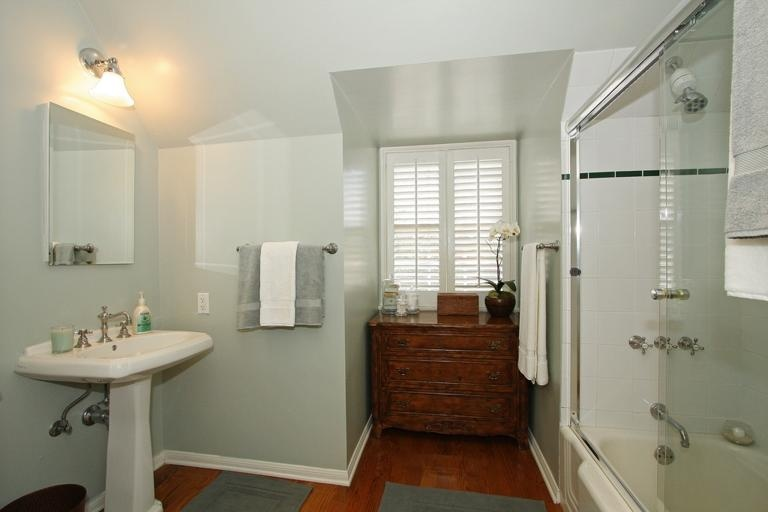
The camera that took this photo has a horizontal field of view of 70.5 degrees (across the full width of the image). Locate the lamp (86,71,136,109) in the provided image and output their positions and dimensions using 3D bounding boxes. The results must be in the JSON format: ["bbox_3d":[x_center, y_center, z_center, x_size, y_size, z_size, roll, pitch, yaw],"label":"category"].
[{"bbox_3d":[-1.673,-1.059,3.414,0.332,0.219,0.320,-1,23,-17],"label":"lamp"}]

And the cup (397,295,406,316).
[{"bbox_3d":[0.137,0.391,4.196,0.116,0.151,0.117,0,0,0],"label":"cup"}]

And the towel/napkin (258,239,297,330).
[{"bbox_3d":[-0.684,0.188,3.553,0.256,0.469,0.048,-2,0,5],"label":"towel/napkin"}]

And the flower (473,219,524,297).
[{"bbox_3d":[0.900,0.016,4.228,0.332,0.570,0.335,-2,-1,14],"label":"flower"}]

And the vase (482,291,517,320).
[{"bbox_3d":[0.875,0.372,4.105,0.204,0.146,0.207,-2,1,20],"label":"vase"}]

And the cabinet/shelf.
[{"bbox_3d":[0.501,0.876,4.144,1.137,0.875,0.480,0,9,8],"label":"cabinet/shelf"}]

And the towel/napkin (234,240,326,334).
[{"bbox_3d":[-0.661,0.201,3.554,0.600,0.591,0.130,0,-3,3],"label":"towel/napkin"}]

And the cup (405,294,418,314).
[{"bbox_3d":[0.226,0.380,4.298,0.125,0.179,0.127,-1,0,0],"label":"cup"}]

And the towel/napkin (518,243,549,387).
[{"bbox_3d":[0.992,0.388,3.663,0.186,0.942,0.314,-2,-1,-25],"label":"towel/napkin"}]

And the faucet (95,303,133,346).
[{"bbox_3d":[-1.688,0.425,3.404,0.205,0.212,0.094,-6,-13,-13],"label":"faucet"}]

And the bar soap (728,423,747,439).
[{"bbox_3d":[1.693,0.835,2.593,0.055,0.049,0.055,5,-8,-42],"label":"bar soap"}]

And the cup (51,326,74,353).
[{"bbox_3d":[-1.876,0.478,3.193,0.137,0.145,0.131,3,4,0],"label":"cup"}]

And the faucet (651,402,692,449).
[{"bbox_3d":[1.465,0.858,2.764,0.079,0.208,0.080,-22,-26,11],"label":"faucet"}]
